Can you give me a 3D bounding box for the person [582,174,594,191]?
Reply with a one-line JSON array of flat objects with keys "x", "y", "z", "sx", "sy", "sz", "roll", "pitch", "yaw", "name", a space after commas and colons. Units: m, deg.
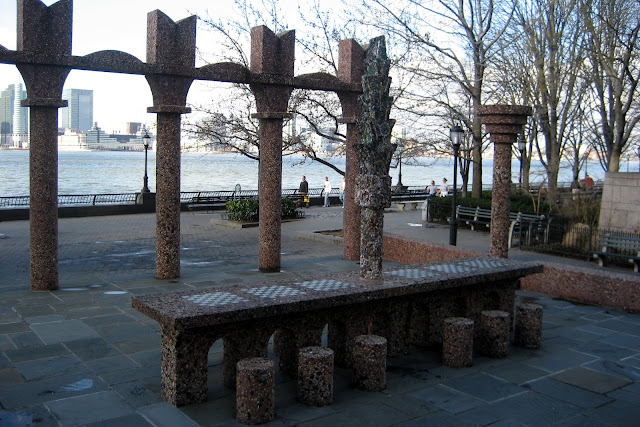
[{"x": 19.990, "y": -2.330, "z": 37.012, "sx": 0.543, "sy": 1.090, "sz": 1.906, "roll": 4, "pitch": 9, "yaw": 25, "name": "person"}]
